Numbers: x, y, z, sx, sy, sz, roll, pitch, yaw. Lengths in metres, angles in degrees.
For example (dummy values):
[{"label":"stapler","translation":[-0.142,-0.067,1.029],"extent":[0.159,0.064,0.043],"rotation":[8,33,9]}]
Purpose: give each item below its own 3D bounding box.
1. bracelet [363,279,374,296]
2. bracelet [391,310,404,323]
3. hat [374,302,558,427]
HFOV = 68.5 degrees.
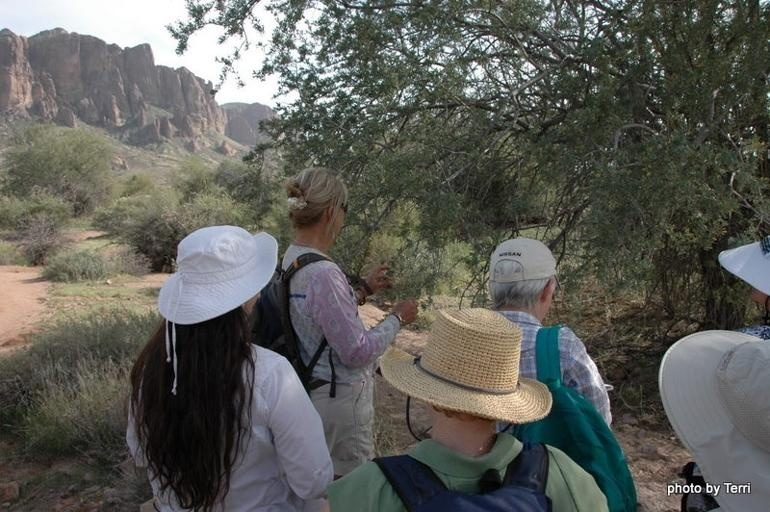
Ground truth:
[{"label":"bracelet","translation":[-0.140,0.261,4.861],"extent":[0.029,0.111,0.109],"rotation":[-31,30,-13]},{"label":"bracelet","translation":[0.105,0.503,4.712],"extent":[0.088,0.020,0.080],"rotation":[60,-5,-32]},{"label":"hat","translation":[0.566,0.737,3.690],"extent":[0.829,0.444,0.865],"rotation":[13,7,-16]}]
